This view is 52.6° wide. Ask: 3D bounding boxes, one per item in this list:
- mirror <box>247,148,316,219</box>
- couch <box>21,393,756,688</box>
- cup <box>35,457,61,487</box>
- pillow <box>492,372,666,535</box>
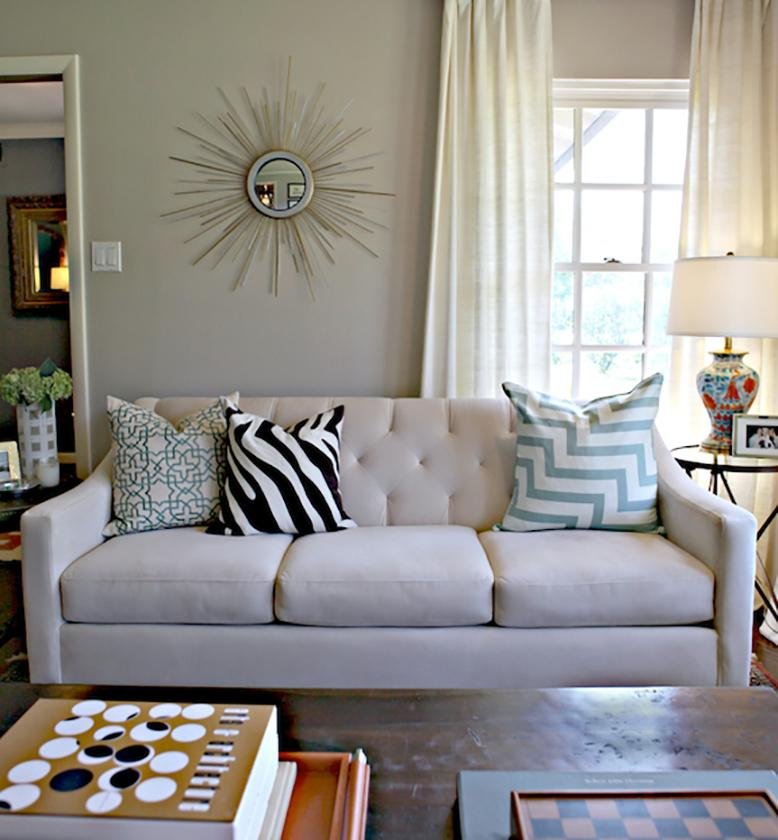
[{"bbox_3d":[-0.395,-0.872,2.859,0.198,0.231,0.022,5,7,0],"label":"mirror"},{"bbox_3d":[-0.009,0.391,2.080,1.820,0.507,0.857,1,11,1],"label":"couch"},{"bbox_3d":[-1.164,0.181,2.714,0.070,0.090,0.119,0,-5,-5],"label":"cup"},{"bbox_3d":[0.548,0.114,2.308,0.409,0.451,0.171,0,-20,10],"label":"pillow"}]
